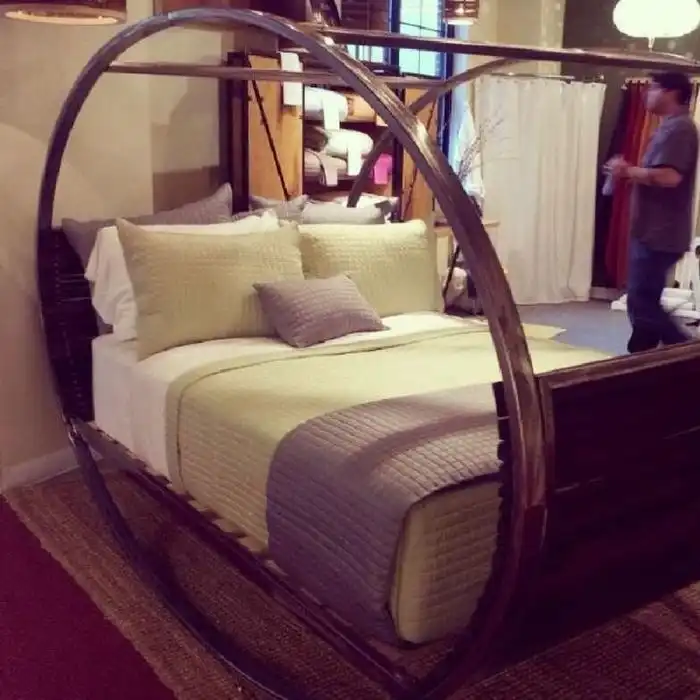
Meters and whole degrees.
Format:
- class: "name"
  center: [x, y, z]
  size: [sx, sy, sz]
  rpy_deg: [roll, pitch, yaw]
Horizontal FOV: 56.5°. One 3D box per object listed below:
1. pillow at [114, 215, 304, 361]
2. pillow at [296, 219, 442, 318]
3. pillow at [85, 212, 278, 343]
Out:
- class: "pillow"
  center: [-0.490, -0.192, 2.248]
  size: [0.615, 0.347, 0.176]
  rpy_deg: [-9, 3, -37]
- class: "pillow"
  center: [0.073, -0.311, 2.586]
  size: [0.546, 0.309, 0.176]
  rpy_deg: [-2, -27, -36]
- class: "pillow"
  center: [-0.819, -0.278, 2.501]
  size: [0.647, 0.499, 0.172]
  rpy_deg: [-4, -11, -24]
